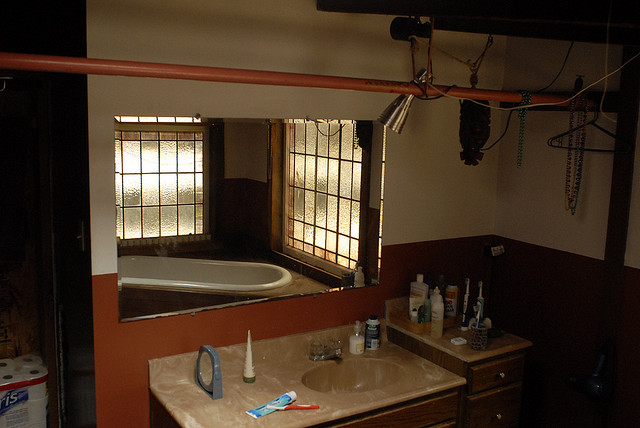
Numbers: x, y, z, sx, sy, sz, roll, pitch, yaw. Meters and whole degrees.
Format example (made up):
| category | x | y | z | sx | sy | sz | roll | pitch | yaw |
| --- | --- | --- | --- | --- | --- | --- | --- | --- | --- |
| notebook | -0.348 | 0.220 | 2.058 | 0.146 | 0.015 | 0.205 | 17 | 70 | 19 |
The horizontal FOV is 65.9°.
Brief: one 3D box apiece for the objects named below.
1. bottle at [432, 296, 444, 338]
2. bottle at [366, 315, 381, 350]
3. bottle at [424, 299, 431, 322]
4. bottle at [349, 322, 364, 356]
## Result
| category | x | y | z | sx | sy | sz | roll | pitch | yaw |
| --- | --- | --- | --- | --- | --- | --- | --- | --- | --- |
| bottle | 0.789 | 0.711 | 3.327 | 0.068 | 0.232 | 0.051 | -1 | 7 | -3 |
| bottle | 0.361 | 0.809 | 3.408 | 0.119 | 0.218 | 0.118 | 2 | 3 | 0 |
| bottle | 0.734 | 0.660 | 3.378 | 0.044 | 0.143 | 0.040 | -1 | 7 | 0 |
| bottle | 0.247 | 0.830 | 3.300 | 0.092 | 0.206 | 0.059 | -1 | 7 | 4 |
